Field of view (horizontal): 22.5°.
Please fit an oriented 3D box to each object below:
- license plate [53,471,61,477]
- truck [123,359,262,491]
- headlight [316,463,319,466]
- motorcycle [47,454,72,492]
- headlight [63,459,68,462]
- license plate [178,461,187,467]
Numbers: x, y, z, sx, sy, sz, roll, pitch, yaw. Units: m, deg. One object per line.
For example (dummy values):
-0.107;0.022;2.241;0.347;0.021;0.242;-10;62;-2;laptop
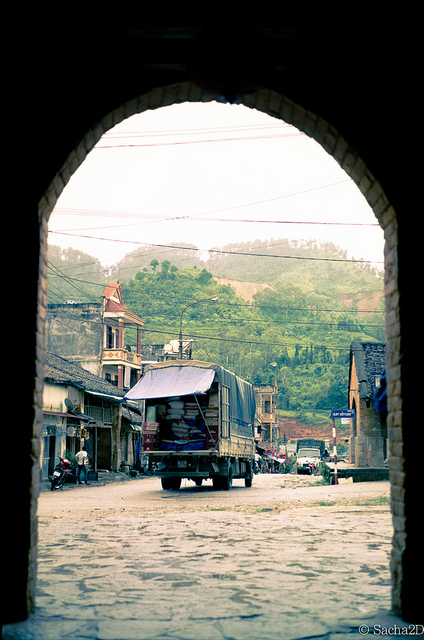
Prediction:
-3.658;3.593;25.125;0.117;0.110;0.205;2;-10;-9;license plate
-0.276;2.526;24.945;1.660;2.891;5.258;-5;-10;16;truck
4.989;6.750;50.537;0.113;0.237;0.118;3;-6;-23;headlight
-3.679;3.635;25.335;0.398;0.556;0.874;23;-11;4;motorcycle
-3.593;3.387;26.072;0.095;0.073;0.237;0;-11;0;headlight
-0.639;3.077;23.118;0.193;0.120;0.037;-1;-9;6;license plate
